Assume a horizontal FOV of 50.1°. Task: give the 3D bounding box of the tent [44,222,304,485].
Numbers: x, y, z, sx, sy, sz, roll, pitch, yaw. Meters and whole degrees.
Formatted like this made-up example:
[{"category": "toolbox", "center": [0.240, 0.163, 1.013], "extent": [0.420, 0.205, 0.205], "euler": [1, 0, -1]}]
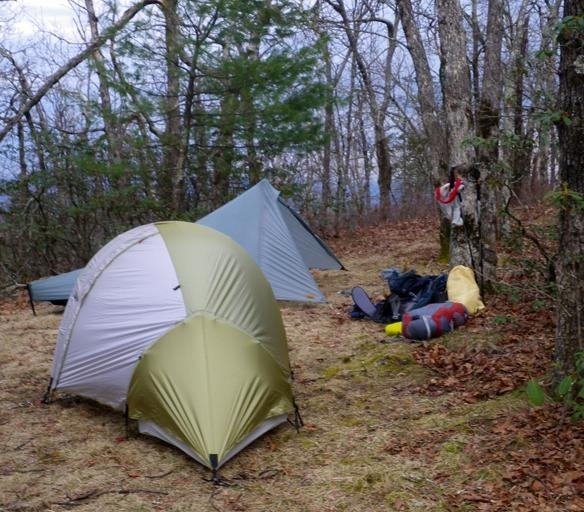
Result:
[{"category": "tent", "center": [-1.319, 0.547, 7.364], "extent": [3.000, 1.925, 3.342], "euler": [-3, 26, -8]}]
